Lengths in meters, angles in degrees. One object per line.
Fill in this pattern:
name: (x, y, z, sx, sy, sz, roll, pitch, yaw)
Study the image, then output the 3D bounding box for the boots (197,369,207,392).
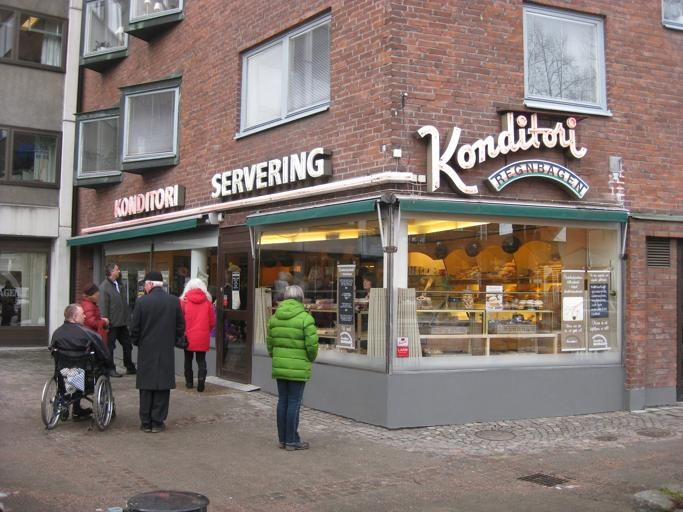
boots: (-2.616, 2.319, 12.953, 0.140, 0.403, 0.309, 1, -5, -13)

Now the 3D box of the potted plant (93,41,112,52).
potted plant: (-6.381, -5.603, 18.477, 0.382, 0.369, 0.252, 4, 20, 11)
